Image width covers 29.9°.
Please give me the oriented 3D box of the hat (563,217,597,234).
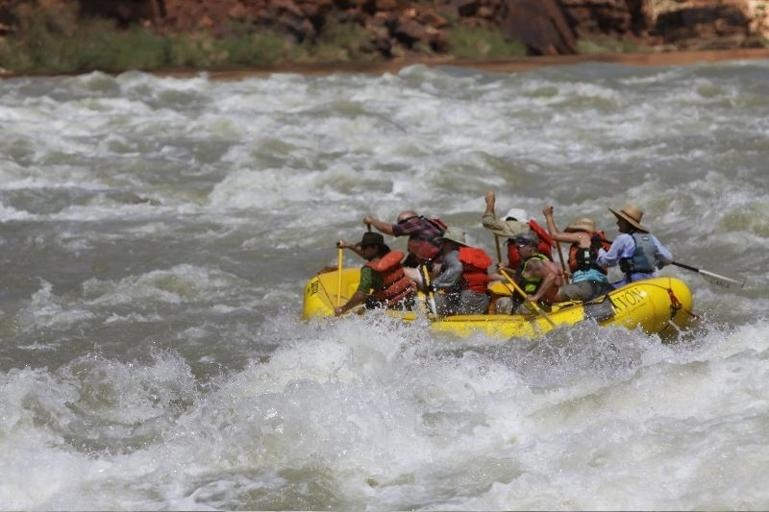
[{"bbox_3d":[3.405,-0.501,25.174,0.427,0.152,0.439,5,0,-10],"label":"hat"}]
